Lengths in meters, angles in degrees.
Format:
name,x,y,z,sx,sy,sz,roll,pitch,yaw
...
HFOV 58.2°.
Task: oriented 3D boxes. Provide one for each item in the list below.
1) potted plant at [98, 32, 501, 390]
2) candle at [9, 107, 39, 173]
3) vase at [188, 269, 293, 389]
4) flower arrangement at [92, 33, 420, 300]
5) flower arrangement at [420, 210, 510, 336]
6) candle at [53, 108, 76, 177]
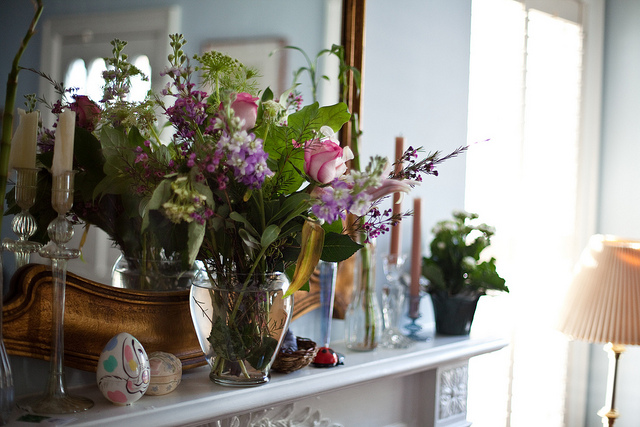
name,x,y,z,sx,sy,sz,roll,pitch,yaw
potted plant,-0.098,-0.023,1.178,0.739,0.767,0.556,6,15,10
candle,-0.538,-0.130,1.041,0.057,0.124,0.019,3,-1,24
vase,-0.159,0.213,1.219,0.211,0.246,0.215,2,0,-34
flower arrangement,-0.129,-0.075,1.135,0.400,0.418,0.430,8,14,-16
flower arrangement,0.376,0.168,1.615,0.246,0.362,0.291,-3,10,-24
candle,-0.458,-0.125,1.033,0.034,0.128,0.037,4,-2,-34
